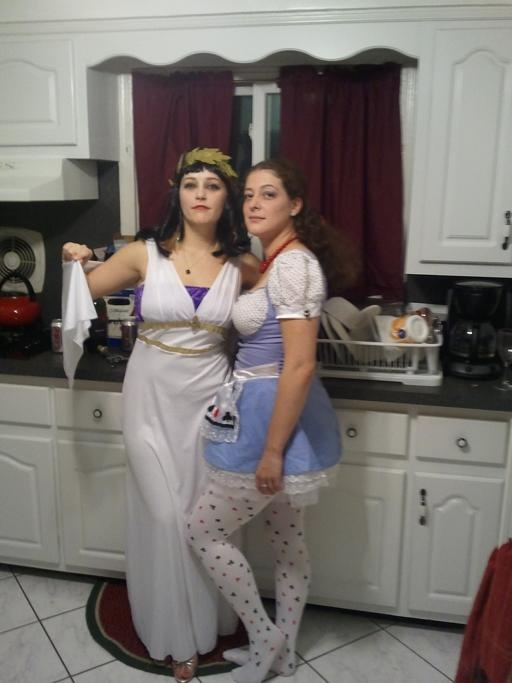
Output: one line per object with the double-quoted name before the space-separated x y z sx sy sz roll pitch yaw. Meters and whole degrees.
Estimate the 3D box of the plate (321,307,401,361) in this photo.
"plate" 0.306 -0.024 1.893 0.199 0.181 0.081 -3 -25 -15

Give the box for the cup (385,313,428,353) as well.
"cup" 0.467 -0.036 1.830 0.101 0.056 0.096 -6 40 5

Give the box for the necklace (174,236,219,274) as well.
"necklace" -0.159 -0.236 1.661 0.121 0.111 0.028 12 0 -28

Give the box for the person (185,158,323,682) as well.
"person" 0.027 0.280 1.595 0.407 1.471 0.346 -1 12 -13
